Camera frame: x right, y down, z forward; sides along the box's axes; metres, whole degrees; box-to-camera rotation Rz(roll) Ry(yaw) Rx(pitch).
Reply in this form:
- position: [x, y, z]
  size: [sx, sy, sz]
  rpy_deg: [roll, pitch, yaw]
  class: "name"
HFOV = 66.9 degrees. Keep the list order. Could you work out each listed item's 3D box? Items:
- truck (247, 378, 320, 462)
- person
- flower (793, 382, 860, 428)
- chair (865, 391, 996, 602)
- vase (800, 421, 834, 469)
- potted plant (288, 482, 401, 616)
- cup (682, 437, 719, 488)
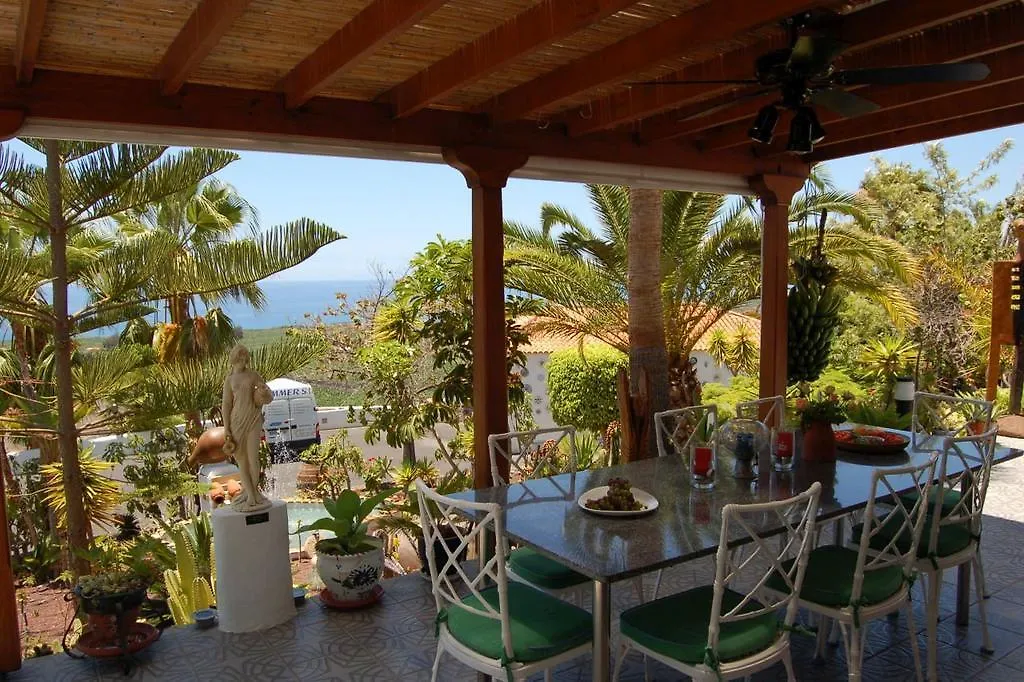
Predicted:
- position: [-4.529, 1.741, 17.687]
  size: [1.518, 1.518, 2.688]
  rpy_deg: [-5, 0, 13]
  class: "truck"
- position: [-1.762, 0.569, 5.143]
  size: [0.294, 0.767, 0.359]
  rpy_deg: [-3, -1, -21]
  class: "person"
- position: [2.083, 0.384, 5.112]
  size: [0.283, 0.212, 0.275]
  rpy_deg: [-9, 4, -28]
  class: "flower"
- position: [2.676, 1.190, 5.025]
  size: [0.731, 1.276, 0.772]
  rpy_deg: [-5, 3, -32]
  class: "chair"
- position: [2.040, 0.655, 5.133]
  size: [0.229, 0.264, 0.236]
  rpy_deg: [-1, -4, 39]
  class: "vase"
- position: [-1.213, 1.465, 5.525]
  size: [0.772, 0.748, 0.535]
  rpy_deg: [0, 4, 3]
  class: "potted plant"
- position: [1.169, 0.750, 4.744]
  size: [0.158, 0.256, 0.169]
  rpy_deg: [-3, 9, 0]
  class: "cup"
